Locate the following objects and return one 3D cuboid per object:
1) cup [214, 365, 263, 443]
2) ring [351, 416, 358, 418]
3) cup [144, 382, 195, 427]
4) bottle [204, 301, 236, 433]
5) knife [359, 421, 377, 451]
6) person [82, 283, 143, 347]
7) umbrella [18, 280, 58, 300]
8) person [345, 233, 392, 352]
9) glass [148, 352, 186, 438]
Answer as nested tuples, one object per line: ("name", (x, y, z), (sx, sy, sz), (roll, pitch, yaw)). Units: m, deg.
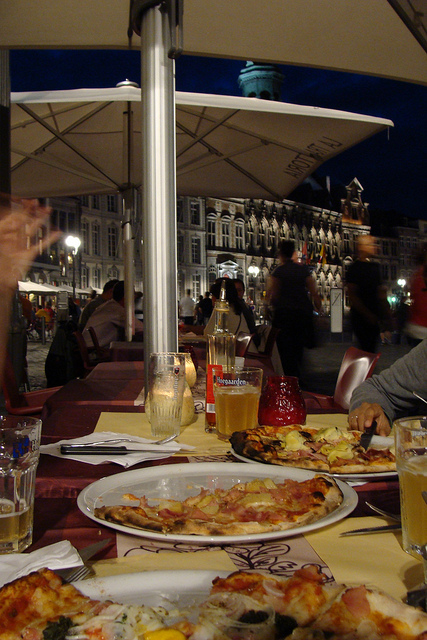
("cup", (0.053, 0.190, 1.384), (0.107, 0.177, 0.113), (-4, 3, 0))
("ring", (0.357, 0.246, 1.444), (0.017, 0.003, 0.013), (0, 4, 30))
("cup", (-0.142, 0.214, 1.618), (0.137, 0.136, 0.158), (-1, 4, -14))
("bottle", (0.002, 0.121, 1.657), (0.095, 0.343, 0.098), (4, 2, 0))
("knife", (0.344, 0.253, 1.269), (0.033, 0.011, 0.223), (21, 8, 17))
("person", (-1.204, -0.035, 6.498), (0.591, 0.881, 0.553), (1, 5, -14))
("umbrella", (-7.956, -1.408, 25.875), (1.847, 0.601, 1.821), (6, 5, 3))
("person", (1.728, -0.271, 6.424), (0.515, 1.467, 1.569), (-1, 4, 16))
("glass", (-0.115, 0.184, 1.438), (0.102, 0.195, 0.098), (0, 6, -12))
